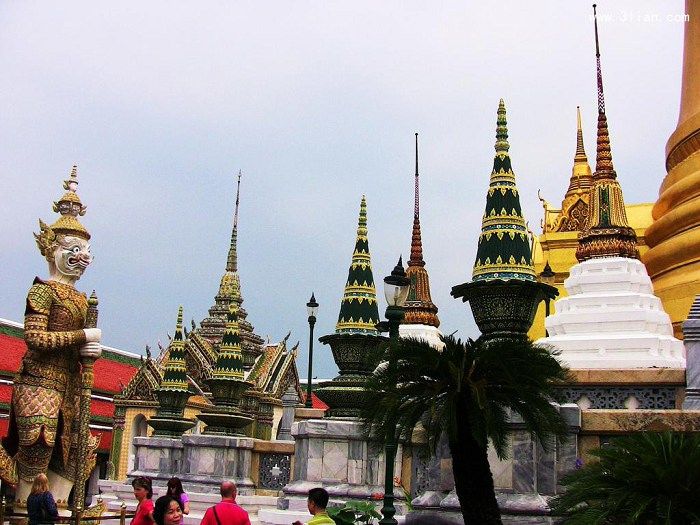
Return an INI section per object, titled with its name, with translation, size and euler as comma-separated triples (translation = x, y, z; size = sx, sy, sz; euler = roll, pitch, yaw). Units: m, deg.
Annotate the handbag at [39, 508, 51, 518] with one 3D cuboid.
[handbag]
translation = -4.697, 3.925, 19.500
size = 0.122, 0.134, 0.094
euler = 6, -20, -39
